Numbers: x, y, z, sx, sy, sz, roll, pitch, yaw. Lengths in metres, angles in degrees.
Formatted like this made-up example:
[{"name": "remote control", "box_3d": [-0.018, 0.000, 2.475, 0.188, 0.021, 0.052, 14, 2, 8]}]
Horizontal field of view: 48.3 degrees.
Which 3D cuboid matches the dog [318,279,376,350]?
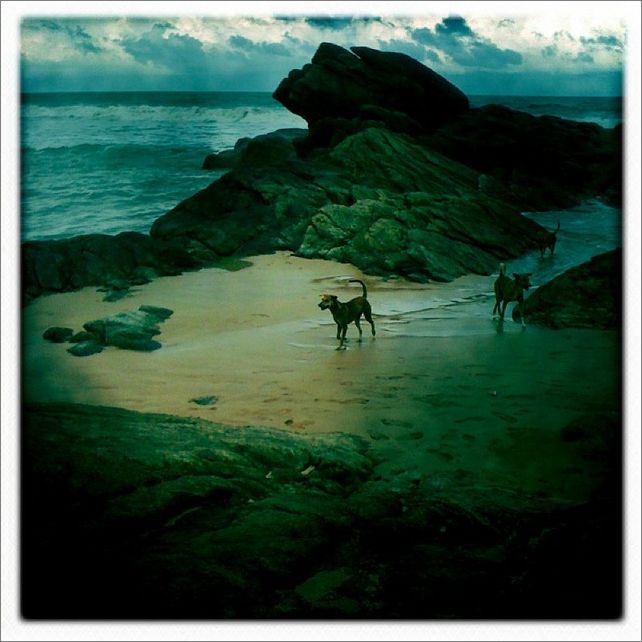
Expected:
[{"name": "dog", "box_3d": [0.420, -0.157, 10.442, 0.772, 0.891, 1.254, 0, 5, 3]}]
